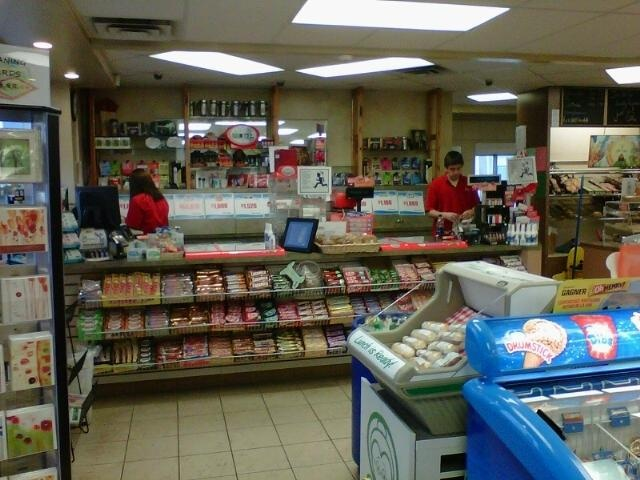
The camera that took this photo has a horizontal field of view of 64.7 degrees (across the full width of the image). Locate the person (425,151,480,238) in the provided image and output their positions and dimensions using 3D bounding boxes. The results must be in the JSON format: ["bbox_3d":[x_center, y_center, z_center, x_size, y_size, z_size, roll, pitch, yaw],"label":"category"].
[{"bbox_3d":[1.476,-0.517,5.635,0.605,0.941,0.935,3,11,15],"label":"person"}]

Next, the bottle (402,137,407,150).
[{"bbox_3d":[1.372,-1.577,8.206,0.090,0.190,0.053,-6,12,-28],"label":"bottle"}]

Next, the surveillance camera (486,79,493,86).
[{"bbox_3d":[2.429,-2.267,7.231,0.071,0.047,0.068,-1,14,5],"label":"surveillance camera"}]

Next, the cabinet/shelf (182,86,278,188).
[{"bbox_3d":[-1.381,-1.473,7.372,1.848,1.577,0.567,1,-2,-18],"label":"cabinet/shelf"}]

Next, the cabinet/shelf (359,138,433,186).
[{"bbox_3d":[1.255,-1.301,8.258,1.126,0.797,0.455,0,11,1],"label":"cabinet/shelf"}]

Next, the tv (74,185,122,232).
[{"bbox_3d":[-1.999,-0.284,4.530,0.350,0.397,0.250,-5,12,-24],"label":"tv"}]

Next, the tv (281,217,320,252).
[{"bbox_3d":[-0.179,-0.047,4.659,0.328,0.272,0.033,8,-12,43],"label":"tv"}]
